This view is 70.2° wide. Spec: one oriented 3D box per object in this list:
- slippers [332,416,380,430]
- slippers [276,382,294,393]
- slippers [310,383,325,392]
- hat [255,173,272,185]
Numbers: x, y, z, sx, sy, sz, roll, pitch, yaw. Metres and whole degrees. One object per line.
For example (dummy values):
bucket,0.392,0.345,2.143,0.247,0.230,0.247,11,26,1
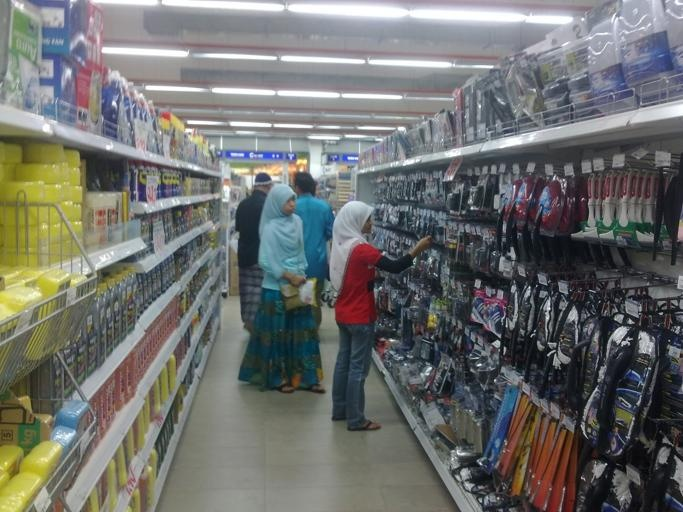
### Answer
slippers,0.118,1.374,4.127,0.355,0.107,0.149,-1,3,-3
slippers,-0.560,1.307,4.852,0.127,0.056,0.077,8,6,0
slippers,-0.238,1.319,4.896,0.181,0.090,0.067,1,8,7
hat,-1.185,-1.158,7.265,0.154,0.201,0.222,10,25,25
